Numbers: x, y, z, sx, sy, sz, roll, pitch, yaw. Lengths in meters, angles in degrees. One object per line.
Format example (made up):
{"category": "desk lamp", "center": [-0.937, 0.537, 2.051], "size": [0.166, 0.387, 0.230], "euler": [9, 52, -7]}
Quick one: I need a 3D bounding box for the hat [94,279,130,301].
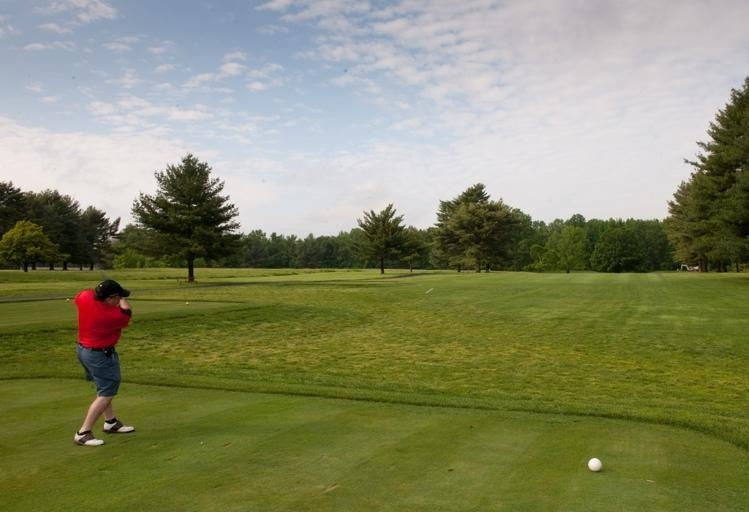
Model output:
{"category": "hat", "center": [-4.083, 0.538, 8.367], "size": [0.571, 0.256, 0.377], "euler": [-7, 21, -42]}

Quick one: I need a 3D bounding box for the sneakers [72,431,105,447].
{"category": "sneakers", "center": [-4.244, 2.726, 7.844], "size": [0.522, 0.163, 0.182], "euler": [2, -5, 3]}

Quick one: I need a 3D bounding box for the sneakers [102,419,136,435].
{"category": "sneakers", "center": [-3.961, 2.700, 8.390], "size": [0.615, 0.193, 0.193], "euler": [2, -6, -7]}
